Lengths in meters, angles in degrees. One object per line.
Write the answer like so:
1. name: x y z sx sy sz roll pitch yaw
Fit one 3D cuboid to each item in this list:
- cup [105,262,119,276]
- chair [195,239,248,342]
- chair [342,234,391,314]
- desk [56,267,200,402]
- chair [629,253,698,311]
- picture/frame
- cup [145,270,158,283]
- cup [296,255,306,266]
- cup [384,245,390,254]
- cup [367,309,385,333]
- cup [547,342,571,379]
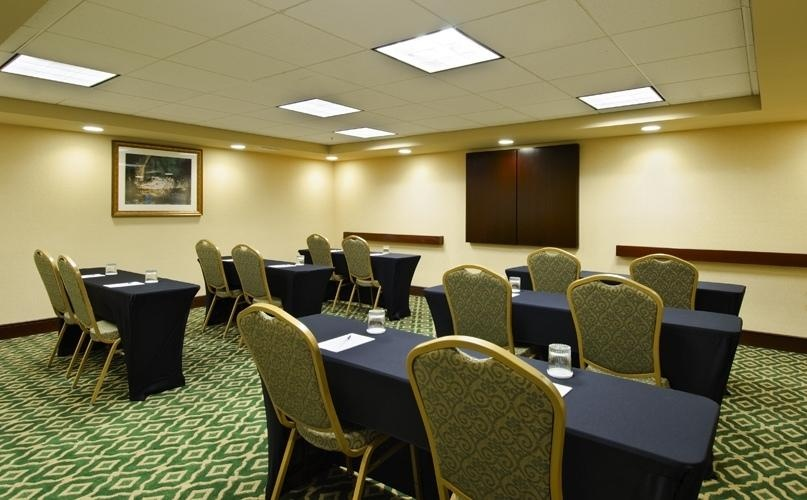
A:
1. cup: -3.530 0.244 5.725 0.164 0.137 0.159 0 4 0
2. chair: -2.418 0.532 6.783 0.757 1.397 0.912 7 9 42
3. chair: -0.504 0.404 7.701 0.708 1.274 0.921 3 6 36
4. desk: -3.423 0.860 5.497 2.221 1.088 0.798 7 6 30
5. chair: 2.521 0.335 4.561 0.451 0.819 0.508 7 13 41
6. picture/frame: -4.050 -1.141 7.770 1.335 1.189 0.241 -3 7 -31
7. cup: -2.840 0.308 5.288 0.144 0.132 0.142 -1 2 0
8. cup: -1.601 0.175 7.354 0.141 0.146 0.141 1 -5 0
9. cup: -0.280 0.000 8.024 0.133 0.148 0.129 -1 4 0
10. cup: -0.236 0.588 3.867 0.172 0.165 0.175 0 0 0
11. cup: 1.064 0.797 3.339 0.210 0.194 0.209 0 -4 0
